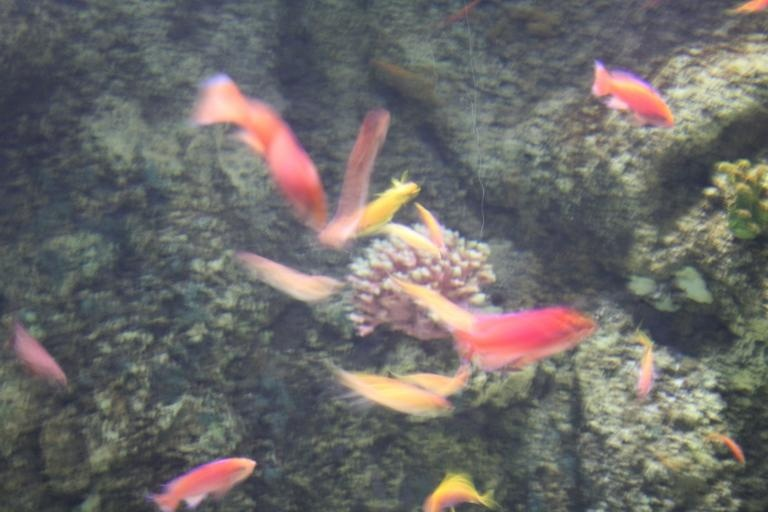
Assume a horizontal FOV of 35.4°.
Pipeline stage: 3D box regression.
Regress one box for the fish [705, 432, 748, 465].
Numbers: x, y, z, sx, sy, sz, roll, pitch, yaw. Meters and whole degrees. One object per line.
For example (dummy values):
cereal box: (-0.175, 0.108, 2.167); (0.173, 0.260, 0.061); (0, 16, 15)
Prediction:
fish: (2.286, 1.267, 7.972); (0.225, 0.149, 0.060); (39, 19, 15)
